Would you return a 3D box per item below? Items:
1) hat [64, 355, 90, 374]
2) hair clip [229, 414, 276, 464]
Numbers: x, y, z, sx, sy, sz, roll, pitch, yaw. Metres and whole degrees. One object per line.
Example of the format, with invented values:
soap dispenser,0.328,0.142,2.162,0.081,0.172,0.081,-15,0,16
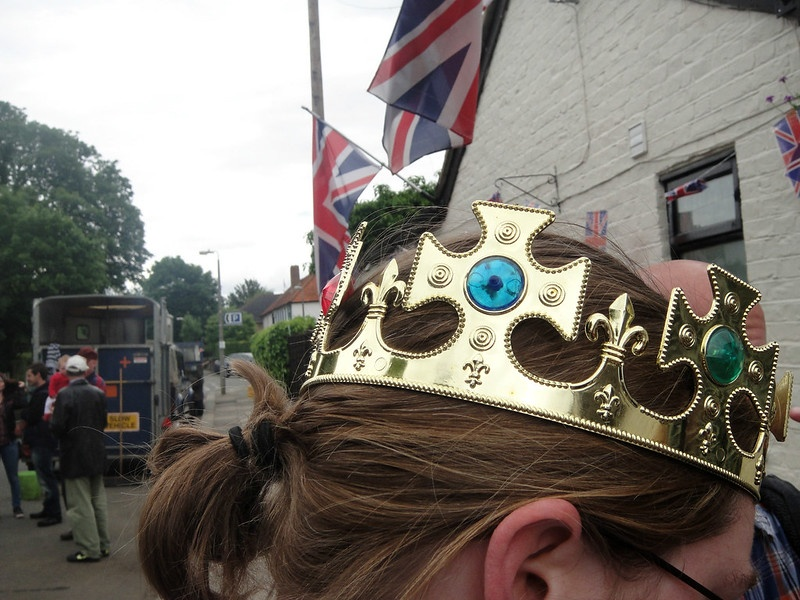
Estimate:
hat,-2.809,0.537,6.957,0.125,0.085,0.185,1,25,-11
hair clip,-0.497,0.486,2.729,0.121,0.170,0.056,0,9,20
